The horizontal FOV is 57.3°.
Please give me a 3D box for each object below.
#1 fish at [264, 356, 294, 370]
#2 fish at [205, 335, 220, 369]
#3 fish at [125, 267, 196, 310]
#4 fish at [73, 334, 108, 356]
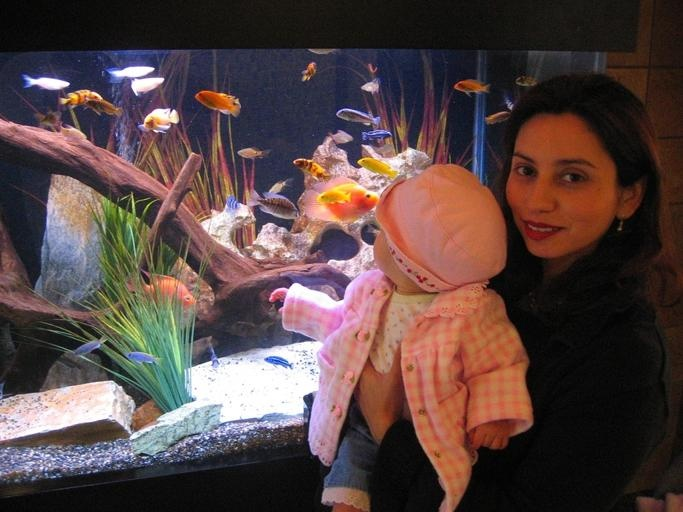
[{"bbox_3d":[-0.345,0.579,3.379,0.136,0.060,0.032,17,9,2],"label":"fish"},{"bbox_3d":[-0.700,0.520,3.377,0.041,0.164,0.052,-15,20,-39],"label":"fish"},{"bbox_3d":[-0.962,0.164,3.366,0.436,0.218,0.129,16,7,-14],"label":"fish"},{"bbox_3d":[-1.303,0.452,3.217,0.156,0.056,0.027,-29,-19,-12],"label":"fish"}]
